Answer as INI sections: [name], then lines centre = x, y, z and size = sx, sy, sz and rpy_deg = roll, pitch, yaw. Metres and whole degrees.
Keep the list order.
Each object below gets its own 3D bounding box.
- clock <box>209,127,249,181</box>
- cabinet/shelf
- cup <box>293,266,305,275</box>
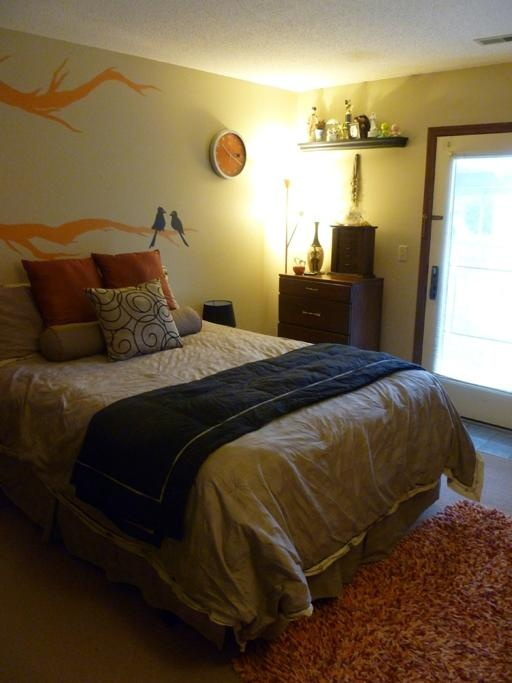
[clock]
centre = -0.225, -1.405, 3.965
size = 0.105, 0.330, 0.345
rpy_deg = 7, 13, 31
[cabinet/shelf]
centre = 0.558, -0.195, 4.119
size = 0.406, 0.627, 0.693
rpy_deg = -13, 20, -43
[cup]
centre = 0.327, -0.562, 4.117
size = 0.071, 0.056, 0.083
rpy_deg = -2, 13, -2
